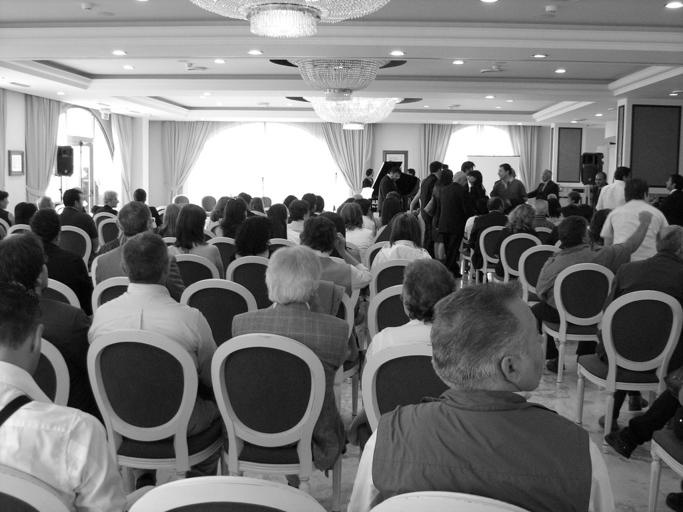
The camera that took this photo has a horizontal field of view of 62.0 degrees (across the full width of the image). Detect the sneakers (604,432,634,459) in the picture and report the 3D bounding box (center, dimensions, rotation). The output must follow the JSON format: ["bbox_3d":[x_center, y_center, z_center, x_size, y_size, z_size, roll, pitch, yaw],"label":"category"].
[{"bbox_3d":[1.651,1.102,3.416,0.079,0.132,0.220,-2,7,-14],"label":"sneakers"}]
